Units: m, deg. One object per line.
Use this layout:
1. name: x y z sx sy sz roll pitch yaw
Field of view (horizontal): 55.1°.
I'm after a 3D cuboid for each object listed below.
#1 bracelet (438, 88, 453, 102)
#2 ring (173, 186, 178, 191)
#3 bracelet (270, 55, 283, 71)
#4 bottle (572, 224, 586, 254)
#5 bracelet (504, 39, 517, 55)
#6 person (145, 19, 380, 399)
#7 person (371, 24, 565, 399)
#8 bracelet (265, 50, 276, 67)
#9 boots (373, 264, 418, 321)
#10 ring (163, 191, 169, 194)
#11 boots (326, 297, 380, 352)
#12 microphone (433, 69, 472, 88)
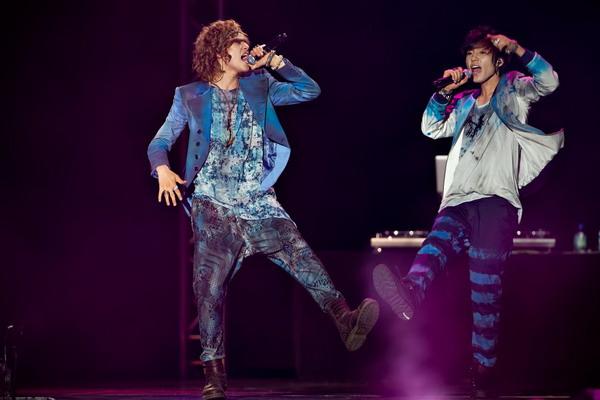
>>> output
1. bracelet: 1.178 -0.844 4.641 0.091 0.104 0.081 -47 -29 8
2. ring: -0.903 -0.084 4.208 0.026 0.027 0.007 -7 -14 7
3. bracelet: -0.171 -1.030 4.310 0.104 0.089 0.046 -24 -9 31
4. bottle: 2.469 0.343 5.071 0.095 0.268 0.902 -3 -8 26
5. bracelet: 1.619 -1.157 4.402 0.087 0.109 0.039 8 5 9
6. person: -0.392 0.022 4.302 1.475 2.846 0.388 -1 -7 2
7. person: 1.387 0.067 4.501 1.304 2.887 0.552 -1 -7 5
8. bracelet: -0.220 -1.050 4.299 0.021 0.095 0.092 26 -21 1
9. boots: 0.724 0.718 4.342 0.152 0.389 0.279 -45 -10 23
10. ring: -0.978 -0.052 4.229 0.029 0.018 0.043 0 0 5
11. boots: 0.392 0.934 4.239 0.193 0.439 0.397 15 4 -40
12. microphone: 1.247 -0.960 4.593 0.130 0.134 0.434 35 36 30
